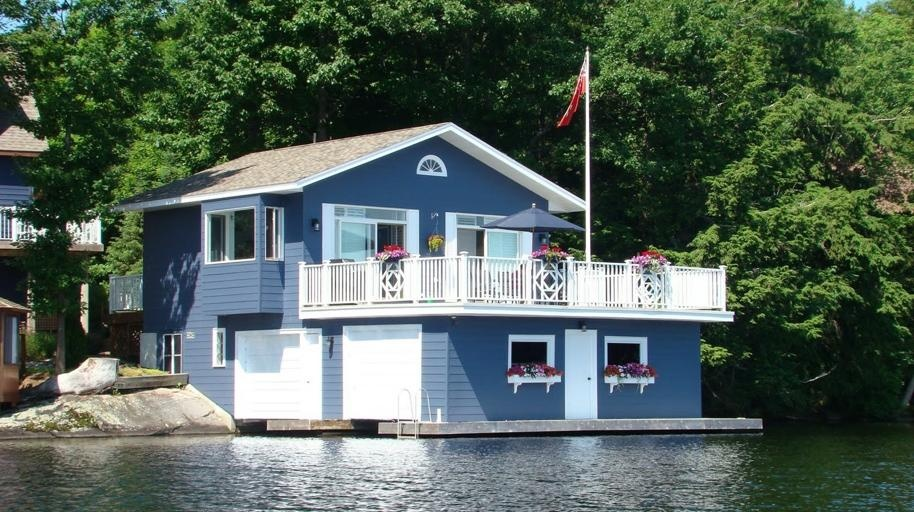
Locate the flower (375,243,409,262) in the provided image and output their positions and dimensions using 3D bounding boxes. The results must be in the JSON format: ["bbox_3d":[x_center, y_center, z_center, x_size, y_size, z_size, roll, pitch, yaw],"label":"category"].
[{"bbox_3d":[-2.962,-0.140,57.985,0.761,0.500,1.215,0,-1,-32],"label":"flower"}]

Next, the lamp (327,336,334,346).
[{"bbox_3d":[-5.647,3.740,59.092,0.285,0.332,0.385,3,-8,-14],"label":"lamp"}]

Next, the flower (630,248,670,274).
[{"bbox_3d":[8.581,0.102,60.078,1.310,0.861,1.302,-3,-8,33],"label":"flower"}]

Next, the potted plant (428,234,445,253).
[{"bbox_3d":[-0.993,-0.673,61.374,0.712,0.474,0.829,6,-34,-20],"label":"potted plant"}]
